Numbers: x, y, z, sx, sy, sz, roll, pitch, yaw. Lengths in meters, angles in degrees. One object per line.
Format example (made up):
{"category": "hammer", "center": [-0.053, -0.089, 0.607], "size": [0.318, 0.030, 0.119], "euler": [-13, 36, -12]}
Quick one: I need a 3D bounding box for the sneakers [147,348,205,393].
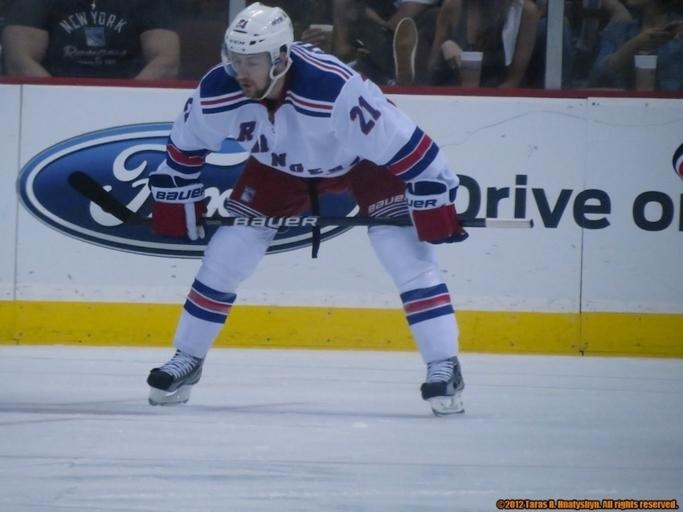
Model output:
{"category": "sneakers", "center": [-0.777, 0.545, 6.419], "size": [0.123, 0.162, 0.390], "euler": [17, 10, 21]}

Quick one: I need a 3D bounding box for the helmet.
{"category": "helmet", "center": [-0.371, -1.032, 6.172], "size": [0.319, 0.285, 0.246], "euler": [-2, 11, -19]}

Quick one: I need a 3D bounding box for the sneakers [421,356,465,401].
{"category": "sneakers", "center": [0.476, 0.572, 6.298], "size": [0.181, 0.198, 0.150], "euler": [12, 14, 7]}
